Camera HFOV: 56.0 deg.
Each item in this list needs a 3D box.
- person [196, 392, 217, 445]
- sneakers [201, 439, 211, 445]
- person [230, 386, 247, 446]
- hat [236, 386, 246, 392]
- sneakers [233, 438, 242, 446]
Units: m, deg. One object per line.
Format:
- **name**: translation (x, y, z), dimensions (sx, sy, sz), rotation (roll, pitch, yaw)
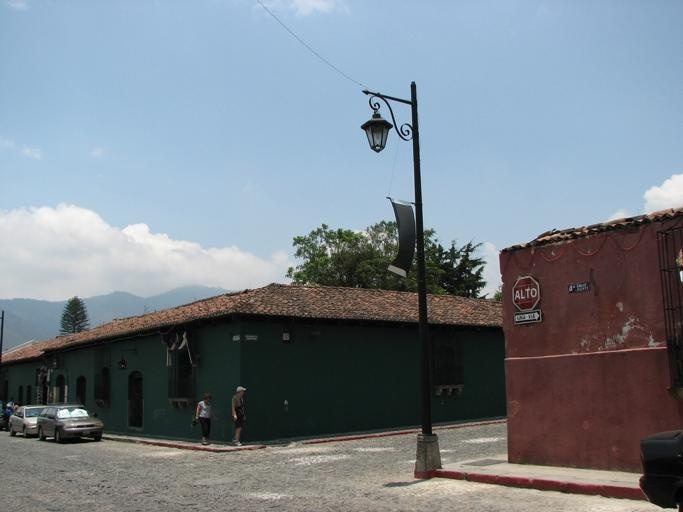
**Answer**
- **person**: translation (-4.997, 5.974, 23.696), dimensions (0.577, 1.596, 1.696), rotation (-3, -1, -12)
- **sneakers**: translation (-4.919, 6.785, 23.472), dimensions (0.211, 0.257, 0.564), rotation (0, -5, 6)
- **person**: translation (-3.583, 5.626, 22.725), dimensions (0.502, 1.802, 1.092), rotation (-3, -1, -10)
- **hat**: translation (-3.450, 4.648, 22.460), dimensions (0.319, 0.184, 0.230), rotation (-4, -4, -29)
- **sneakers**: translation (-3.618, 6.560, 22.631), dimensions (0.147, 0.193, 0.448), rotation (5, -15, -25)
